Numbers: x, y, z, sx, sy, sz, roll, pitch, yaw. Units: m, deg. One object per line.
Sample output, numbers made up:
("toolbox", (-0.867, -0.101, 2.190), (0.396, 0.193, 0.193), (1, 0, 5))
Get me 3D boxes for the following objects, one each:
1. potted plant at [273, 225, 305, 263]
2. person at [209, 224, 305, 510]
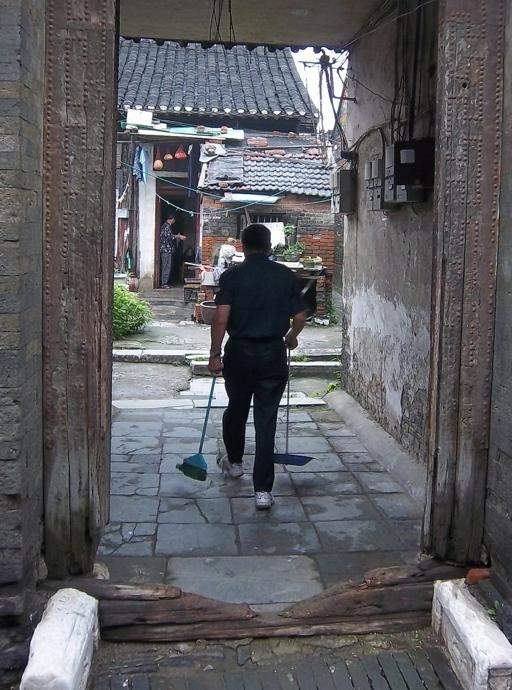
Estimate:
("potted plant", (0.667, -2.243, 14.553), (0.780, 1.049, 0.839), (2, 8, 11))
("person", (-0.031, 0.112, 4.138), (0.532, 1.671, 0.524), (3, 9, 21))
